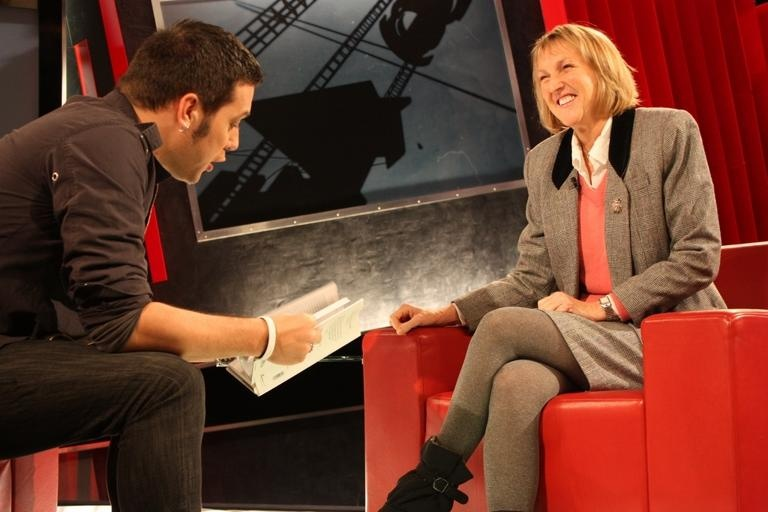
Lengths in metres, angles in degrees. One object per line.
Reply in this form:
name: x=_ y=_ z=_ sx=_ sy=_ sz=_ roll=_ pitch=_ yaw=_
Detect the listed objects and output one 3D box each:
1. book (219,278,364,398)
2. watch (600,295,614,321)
book: x=-0.307 y=0.288 z=2.072 sx=0.186 sy=0.188 sz=0.526 roll=28 pitch=36 yaw=29
watch: x=0.662 y=0.156 z=1.891 sx=0.024 sy=0.063 sz=0.046 roll=-13 pitch=26 yaw=-15
